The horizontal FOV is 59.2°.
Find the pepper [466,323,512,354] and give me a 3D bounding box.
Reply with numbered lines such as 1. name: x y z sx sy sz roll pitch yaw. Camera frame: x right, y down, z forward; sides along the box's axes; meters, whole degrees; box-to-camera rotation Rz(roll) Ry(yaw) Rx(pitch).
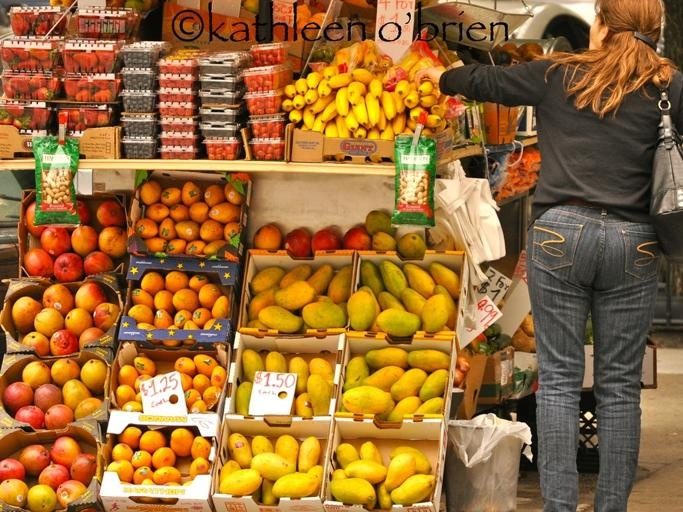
1. pepper: 0.978 0.563 3.969 0.214 0.084 0.212 -30 10 7

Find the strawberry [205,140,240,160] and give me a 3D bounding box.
1. strawberry: -0.645 -0.574 3.295 0.191 0.092 0.092 -2 1 -12

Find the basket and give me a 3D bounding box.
1. basket: 1.517 1.217 4.312 0.602 0.501 0.831 -2 3 3
